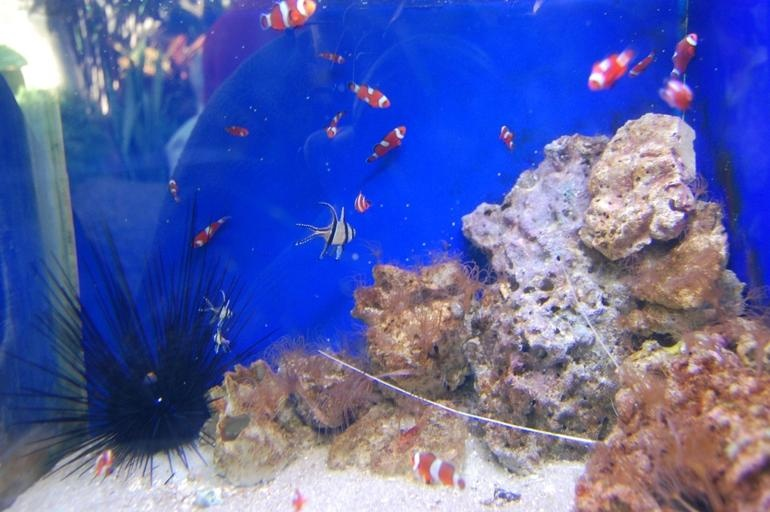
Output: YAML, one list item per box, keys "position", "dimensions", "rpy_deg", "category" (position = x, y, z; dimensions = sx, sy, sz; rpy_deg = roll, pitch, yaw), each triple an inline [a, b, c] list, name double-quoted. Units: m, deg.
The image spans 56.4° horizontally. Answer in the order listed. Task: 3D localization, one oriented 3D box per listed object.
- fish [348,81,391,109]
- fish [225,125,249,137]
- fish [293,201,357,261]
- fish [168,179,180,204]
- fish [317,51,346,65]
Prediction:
- position: [-0.155, -1.640, 7.388]
  dimensions: [0.359, 0.369, 0.280]
  rpy_deg: [-20, 16, 2]
  category: "fish"
- position: [-1.538, -1.311, 7.564]
  dimensions: [0.189, 0.110, 0.053]
  rpy_deg: [1, 9, -6]
  category: "fish"
- position: [-0.566, -0.256, 7.404]
  dimensions: [0.582, 0.568, 0.222]
  rpy_deg: [1, -6, 12]
  category: "fish"
- position: [-2.239, -0.689, 7.652]
  dimensions: [0.109, 0.199, 0.045]
  rpy_deg: [-16, 10, -12]
  category: "fish"
- position: [-0.551, -2.049, 7.440]
  dimensions: [0.184, 0.102, 0.045]
  rpy_deg: [13, 35, -3]
  category: "fish"
